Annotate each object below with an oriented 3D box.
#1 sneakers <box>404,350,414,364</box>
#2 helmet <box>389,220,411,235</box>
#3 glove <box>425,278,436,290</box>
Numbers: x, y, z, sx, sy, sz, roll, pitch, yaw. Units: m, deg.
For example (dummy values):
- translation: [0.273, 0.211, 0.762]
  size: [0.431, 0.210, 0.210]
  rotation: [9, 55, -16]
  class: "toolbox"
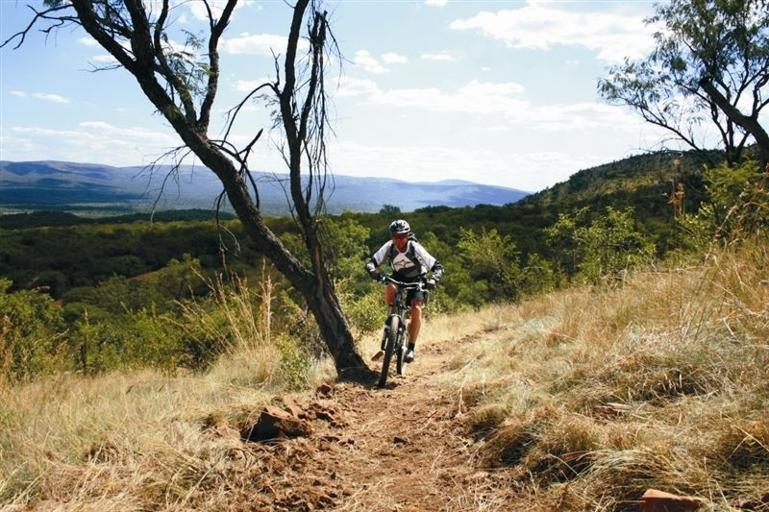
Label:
- translation: [0.475, 1.945, 12.436]
  size: [0.178, 0.226, 0.208]
  rotation: [0, -2, 8]
  class: "sneakers"
- translation: [0.299, -0.562, 12.752]
  size: [0.338, 0.303, 0.493]
  rotation: [1, 8, 8]
  class: "helmet"
- translation: [0.918, 0.558, 12.726]
  size: [0.182, 0.104, 0.134]
  rotation: [12, 17, 40]
  class: "glove"
